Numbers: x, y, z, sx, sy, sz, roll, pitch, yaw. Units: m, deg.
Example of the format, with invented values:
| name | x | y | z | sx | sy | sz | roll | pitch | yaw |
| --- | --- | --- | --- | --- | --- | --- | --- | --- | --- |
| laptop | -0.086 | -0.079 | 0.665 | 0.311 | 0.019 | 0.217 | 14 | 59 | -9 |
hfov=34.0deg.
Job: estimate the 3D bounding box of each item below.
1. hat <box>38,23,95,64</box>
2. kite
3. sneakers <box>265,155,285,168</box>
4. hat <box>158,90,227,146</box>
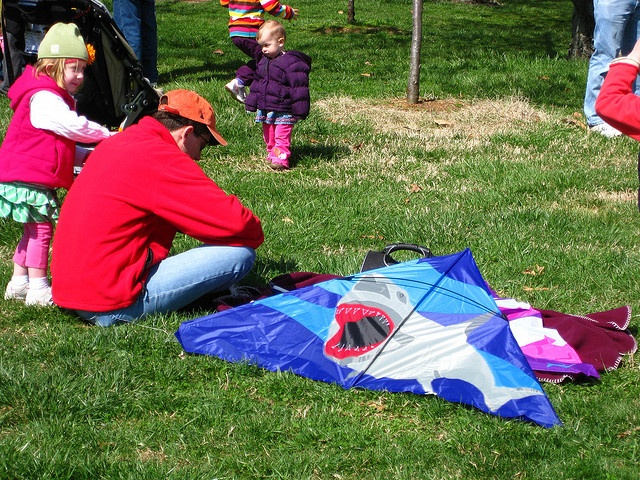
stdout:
| name | x | y | z | sx | sy | sz | roll | pitch | yaw |
| --- | --- | --- | --- | --- | --- | --- | --- | --- | --- |
| hat | -2.097 | -1.580 | 8.517 | 0.309 | 0.257 | 0.315 | -8 | 14 | -7 |
| kite | 0.348 | 0.705 | 7.809 | 1.889 | 0.600 | 1.460 | 2 | 33 | -1 |
| sneakers | -0.491 | -0.852 | 11.477 | 0.173 | 0.150 | 0.069 | 10 | 59 | 34 |
| hat | -0.993 | -1.004 | 8.374 | 0.557 | 0.308 | 0.365 | 30 | -5 | -25 |
